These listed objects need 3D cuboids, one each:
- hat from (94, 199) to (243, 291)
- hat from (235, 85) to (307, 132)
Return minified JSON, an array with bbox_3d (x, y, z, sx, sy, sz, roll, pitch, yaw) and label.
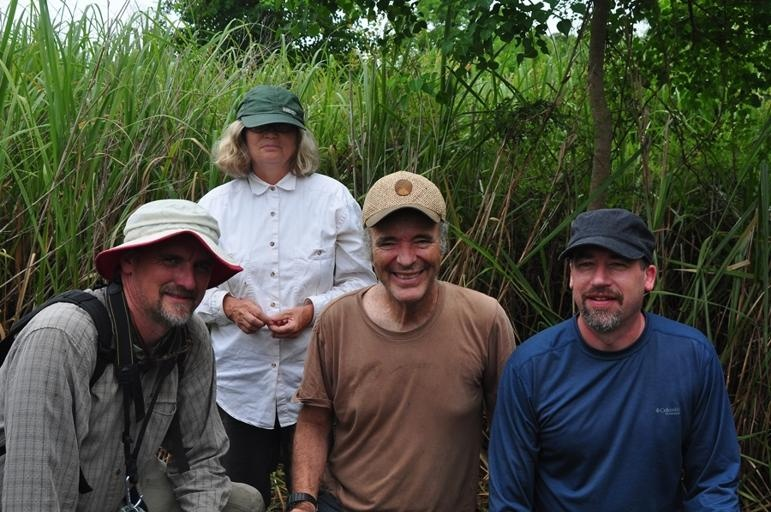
[{"bbox_3d":[-1.042,-0.086,3.480,0.501,0.273,0.477,21,-34,-34],"label":"hat"},{"bbox_3d":[-0.692,-0.895,4.185,0.261,0.186,0.350,2,0,-12],"label":"hat"}]
